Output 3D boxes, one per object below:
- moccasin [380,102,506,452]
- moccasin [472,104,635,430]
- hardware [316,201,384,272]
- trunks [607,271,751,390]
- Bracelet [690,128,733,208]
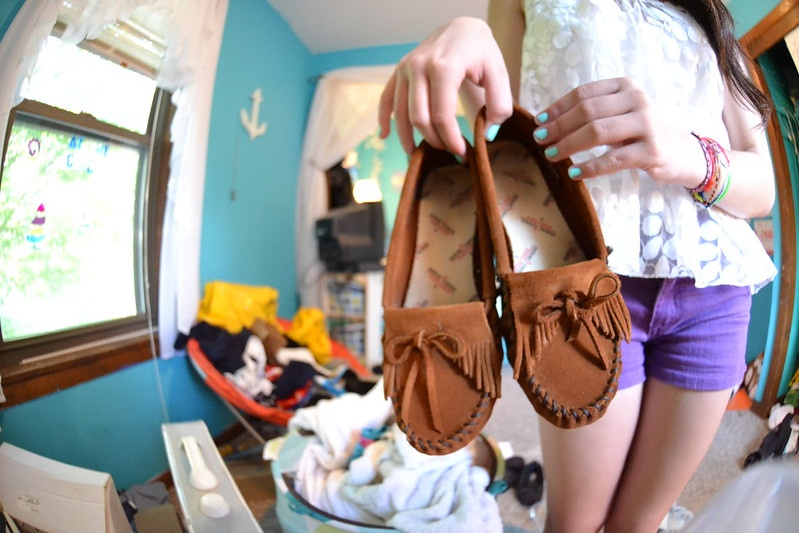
[{"bbox_3d":[0.062,-0.013,0.829,0.190,0.551,0.144,-2,-8,12],"label":"moccasin"},{"bbox_3d":[0.219,-0.027,0.891,0.218,0.531,0.144,-16,-5,1],"label":"moccasin"},{"bbox_3d":[-0.127,-0.064,1.104,0.135,0.139,0.141,-5,7,-37],"label":"hardware"},{"bbox_3d":[0.476,0.111,0.906,0.153,0.227,0.248,9,-3,-34],"label":"trunks"},{"bbox_3d":[0.478,-0.151,0.787,0.036,0.098,0.074,3,-5,-32],"label":"Bracelet"}]
